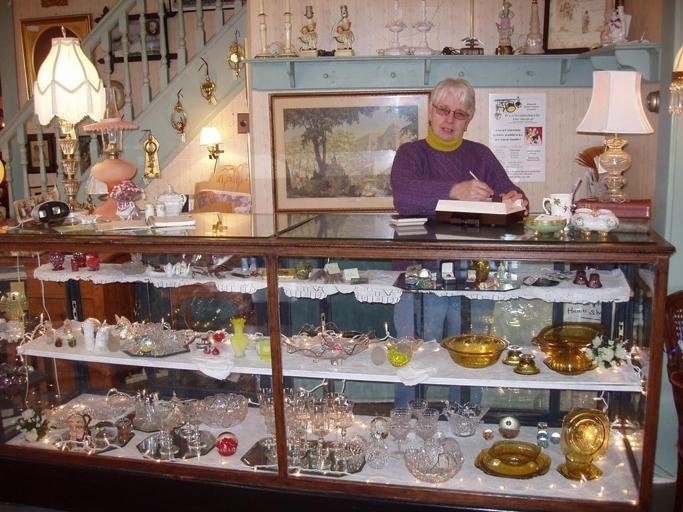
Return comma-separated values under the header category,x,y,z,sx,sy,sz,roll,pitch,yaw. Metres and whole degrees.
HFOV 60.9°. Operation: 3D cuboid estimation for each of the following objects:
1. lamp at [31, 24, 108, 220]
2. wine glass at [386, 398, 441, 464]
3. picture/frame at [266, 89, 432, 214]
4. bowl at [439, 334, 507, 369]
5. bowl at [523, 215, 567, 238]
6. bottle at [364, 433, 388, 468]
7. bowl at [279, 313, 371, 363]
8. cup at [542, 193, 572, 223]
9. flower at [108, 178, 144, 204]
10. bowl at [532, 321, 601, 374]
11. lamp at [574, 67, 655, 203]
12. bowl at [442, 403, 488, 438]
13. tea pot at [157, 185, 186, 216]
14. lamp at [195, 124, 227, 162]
category,x,y,z,sx,sy,sz,roll,pitch,yaw
lamp,-1.561,-0.783,3.351,0.393,0.978,0.406,27,36,19
wine glass,0.387,0.937,3.133,0.283,0.226,0.239,-1,6,-17
picture/frame,0.101,-0.946,4.943,1.197,0.888,0.047,0,13,0
bowl,0.708,0.504,3.154,0.327,0.117,0.337,3,-16,1
bowl,0.955,-0.160,2.718,0.129,0.063,0.129,0,10,0
bottle,0.188,1.014,3.011,0.130,0.179,0.127,0,-7,0
bowl,-0.071,0.472,3.083,0.300,0.128,0.307,0,7,0
cup,1.033,-0.228,2.838,0.162,0.168,0.104,0,6,12
flower,-1.206,-0.363,3.281,0.167,0.125,0.159,-8,15,-24
bowl,1.154,0.456,2.926,0.305,0.153,0.450,-4,18,20
lamp,1.483,-0.681,3.151,0.352,0.639,0.875,5,15,26
bowl,0.668,0.878,3.166,0.214,0.143,0.196,1,-1,0
tea pot,-0.956,-0.317,3.352,0.187,0.201,0.169,-2,5,-40
lamp,-1.669,-1.505,7.750,0.354,0.510,0.437,0,9,19
